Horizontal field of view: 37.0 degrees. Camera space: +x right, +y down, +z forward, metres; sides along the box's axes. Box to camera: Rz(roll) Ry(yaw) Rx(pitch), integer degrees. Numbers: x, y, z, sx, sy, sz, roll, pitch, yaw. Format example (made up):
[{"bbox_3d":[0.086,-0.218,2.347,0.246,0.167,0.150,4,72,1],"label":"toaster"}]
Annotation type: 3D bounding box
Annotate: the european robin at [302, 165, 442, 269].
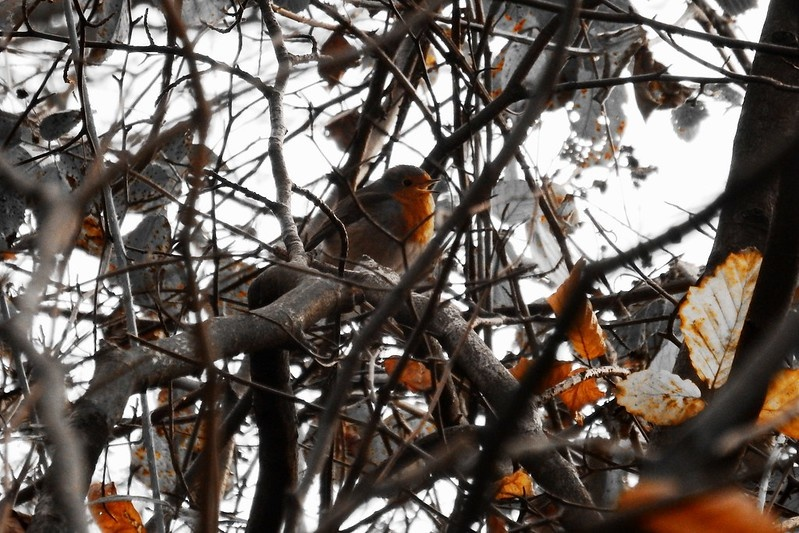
[{"bbox_3d":[-0.103,-0.274,6.447,0.716,0.436,0.598,-1,-91,-24],"label":"european robin"}]
